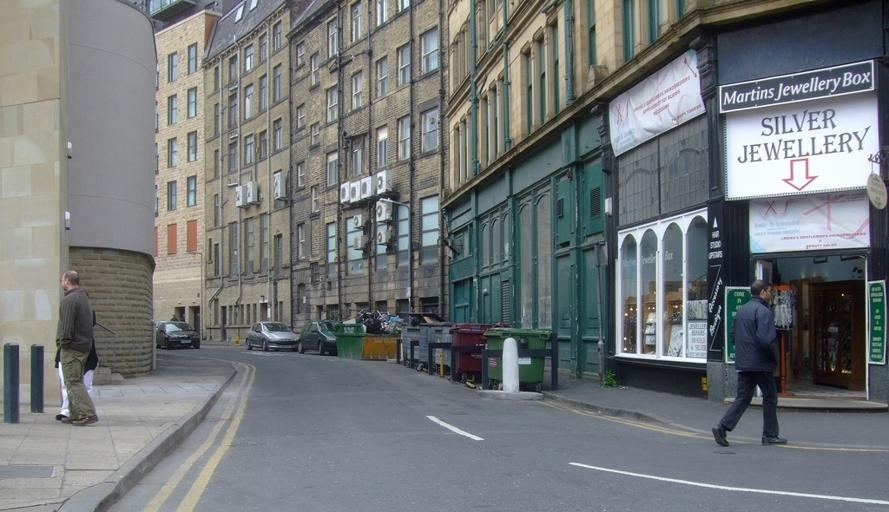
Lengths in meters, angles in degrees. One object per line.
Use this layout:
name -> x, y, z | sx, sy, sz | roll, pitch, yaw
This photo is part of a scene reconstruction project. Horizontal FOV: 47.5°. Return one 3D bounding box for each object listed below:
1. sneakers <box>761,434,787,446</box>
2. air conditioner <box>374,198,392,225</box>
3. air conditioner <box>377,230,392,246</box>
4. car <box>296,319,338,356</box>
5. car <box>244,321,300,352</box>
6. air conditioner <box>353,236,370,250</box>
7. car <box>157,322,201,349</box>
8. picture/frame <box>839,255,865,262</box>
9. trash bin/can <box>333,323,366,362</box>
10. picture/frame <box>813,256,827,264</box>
sneakers -> 7.409, 4.122, 22.645 | 0.490, 0.217, 0.215 | -1, -3, -5
air conditioner -> -3.262, -2.400, 54.631 | 0.748, 1.399, 1.370 | 6, -12, -29
air conditioner -> -3.180, -0.757, 54.817 | 0.648, 0.862, 1.197 | 2, -5, -28
car -> -5.874, 4.035, 49.507 | 1.274, 1.038, 2.228 | 4, -12, -28
car -> -9.128, 4.279, 53.877 | 1.449, 1.059, 3.086 | 4, -10, -27
air conditioner -> -4.673, -0.455, 57.204 | 0.675, 0.933, 1.271 | 5, -17, -17
car -> -15.319, 4.585, 57.911 | 1.934, 1.497, 2.386 | -4, 4, -44
picture/frame -> 11.107, 0.074, 27.486 | 0.605, 0.242, 1.540 | 1, 3, 21
trash bin/can -> -4.164, 3.852, 45.620 | 0.764, 1.554, 2.425 | -2, 4, -25
picture/frame -> 10.645, 0.116, 28.521 | 0.391, 0.214, 0.397 | 2, -25, 16
